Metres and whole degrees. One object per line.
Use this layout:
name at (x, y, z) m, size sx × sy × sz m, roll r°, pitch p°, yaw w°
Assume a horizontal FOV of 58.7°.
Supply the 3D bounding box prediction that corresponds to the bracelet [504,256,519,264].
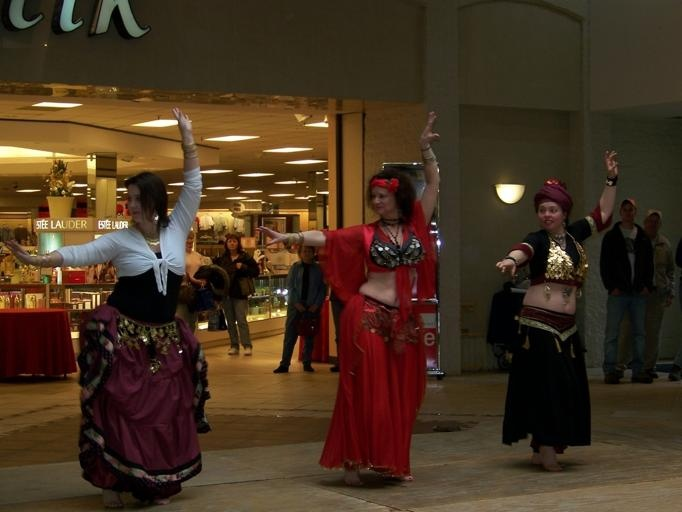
bracelet at (1.048, 0.024, 3.712) m, size 0.062 × 0.065 × 0.067 m, roll -1°, pitch -1°, yaw 2°

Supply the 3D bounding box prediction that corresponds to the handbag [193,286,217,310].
handbag at (-1.712, 0.546, 7.790) m, size 0.216 × 0.426 × 0.413 m, roll -2°, pitch 3°, yaw 3°

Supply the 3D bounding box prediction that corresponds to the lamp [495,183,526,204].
lamp at (2.282, -0.852, 8.322) m, size 0.286 × 0.202 × 0.299 m, roll 1°, pitch -4°, yaw -1°

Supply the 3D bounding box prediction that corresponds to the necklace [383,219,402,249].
necklace at (0.332, -0.139, 3.789) m, size 0.038 × 0.165 × 0.115 m, roll -11°, pitch -9°, yaw -34°

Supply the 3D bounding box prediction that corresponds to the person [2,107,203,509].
person at (-1.117, 0.264, 3.312) m, size 0.806 × 2.204 × 0.433 m, roll -2°, pitch 3°, yaw -27°

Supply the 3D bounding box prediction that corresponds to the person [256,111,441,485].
person at (0.204, 0.263, 3.741) m, size 0.882 × 2.327 × 0.504 m, roll -1°, pitch 2°, yaw -9°

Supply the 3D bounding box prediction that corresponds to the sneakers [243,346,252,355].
sneakers at (-1.593, 1.634, 10.404) m, size 0.109 × 0.126 × 0.119 m, roll 0°, pitch -12°, yaw 0°

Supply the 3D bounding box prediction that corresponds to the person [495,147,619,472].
person at (1.363, 0.475, 3.997) m, size 1.045 × 1.959 × 0.461 m, roll -2°, pitch 3°, yaw -37°

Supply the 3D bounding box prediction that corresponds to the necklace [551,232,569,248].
necklace at (1.455, -0.102, 4.035) m, size 0.084 × 0.107 × 0.044 m, roll 0°, pitch -15°, yaw 3°

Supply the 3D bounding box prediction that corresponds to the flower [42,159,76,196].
flower at (-5.843, -1.699, 12.729) m, size 0.391 × 0.660 × 0.492 m, roll -21°, pitch 44°, yaw -37°
